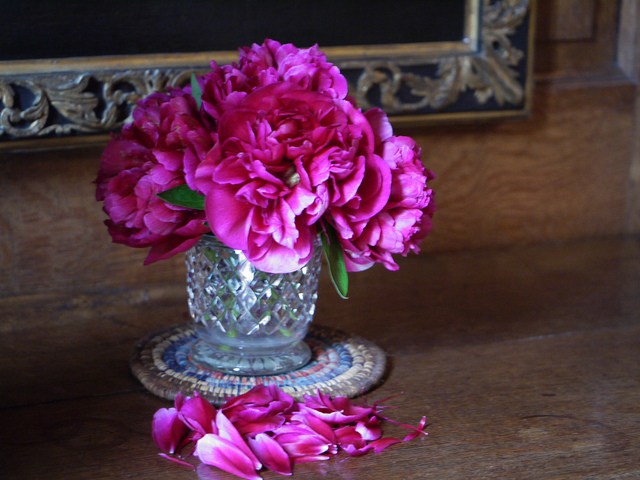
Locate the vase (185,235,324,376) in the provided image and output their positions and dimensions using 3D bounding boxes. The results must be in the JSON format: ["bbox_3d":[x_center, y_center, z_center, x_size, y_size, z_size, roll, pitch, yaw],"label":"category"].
[{"bbox_3d":[-0.058,0.064,0.644,0.130,0.135,0.107,0,10,4],"label":"vase"}]
